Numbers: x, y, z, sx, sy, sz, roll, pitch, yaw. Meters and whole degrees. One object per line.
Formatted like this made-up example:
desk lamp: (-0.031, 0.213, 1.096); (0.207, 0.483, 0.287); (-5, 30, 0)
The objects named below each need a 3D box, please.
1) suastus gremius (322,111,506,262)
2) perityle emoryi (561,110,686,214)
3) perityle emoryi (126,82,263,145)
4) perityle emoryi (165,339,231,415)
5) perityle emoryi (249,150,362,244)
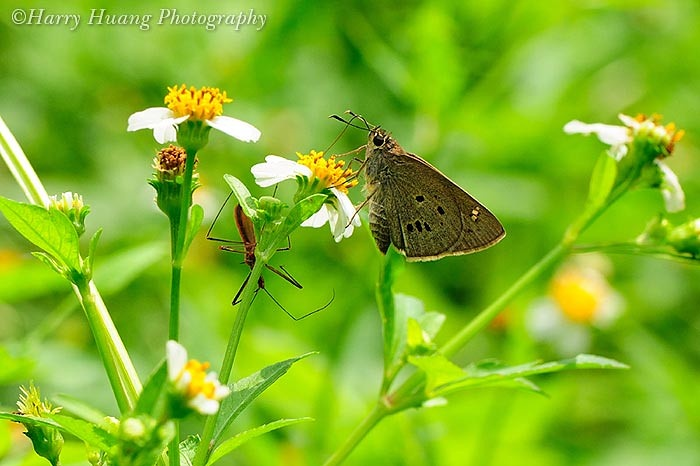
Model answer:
suastus gremius: (0.296, -0.218, 4.247); (1.141, 0.561, 1.124); (46, -18, -32)
perityle emoryi: (1.352, -0.392, 3.204); (0.435, 0.621, 0.387); (9, 23, 27)
perityle emoryi: (-0.698, -0.524, 3.004); (0.553, 0.247, 0.122); (-4, -7, -3)
perityle emoryi: (-0.626, 0.560, 2.697); (0.272, 0.170, 0.288); (51, -2, -16)
perityle emoryi: (-0.162, -0.217, 3.223); (0.462, 0.247, 0.468); (34, -13, 15)
